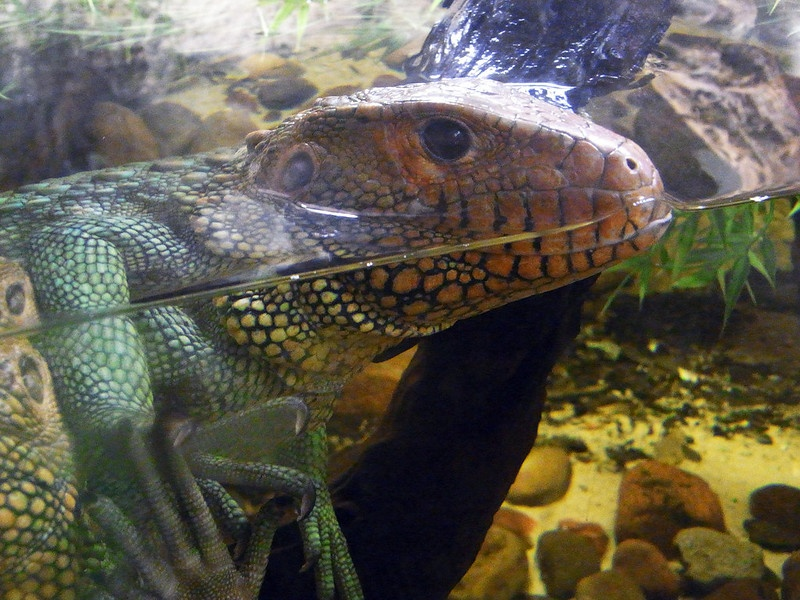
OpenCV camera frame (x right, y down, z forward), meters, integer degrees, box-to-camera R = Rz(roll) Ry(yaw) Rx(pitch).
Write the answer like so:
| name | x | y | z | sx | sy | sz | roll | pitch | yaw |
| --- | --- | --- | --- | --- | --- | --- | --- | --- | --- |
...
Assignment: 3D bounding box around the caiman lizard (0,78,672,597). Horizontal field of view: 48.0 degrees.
| name | x | y | z | sx | sy | sz | roll | pitch | yaw |
| --- | --- | --- | --- | --- | --- | --- | --- | --- | --- |
| caiman lizard | -0.213 | -0.016 | 1.757 | 1.376 | 0.818 | 0.465 | -9 | 82 | 16 |
